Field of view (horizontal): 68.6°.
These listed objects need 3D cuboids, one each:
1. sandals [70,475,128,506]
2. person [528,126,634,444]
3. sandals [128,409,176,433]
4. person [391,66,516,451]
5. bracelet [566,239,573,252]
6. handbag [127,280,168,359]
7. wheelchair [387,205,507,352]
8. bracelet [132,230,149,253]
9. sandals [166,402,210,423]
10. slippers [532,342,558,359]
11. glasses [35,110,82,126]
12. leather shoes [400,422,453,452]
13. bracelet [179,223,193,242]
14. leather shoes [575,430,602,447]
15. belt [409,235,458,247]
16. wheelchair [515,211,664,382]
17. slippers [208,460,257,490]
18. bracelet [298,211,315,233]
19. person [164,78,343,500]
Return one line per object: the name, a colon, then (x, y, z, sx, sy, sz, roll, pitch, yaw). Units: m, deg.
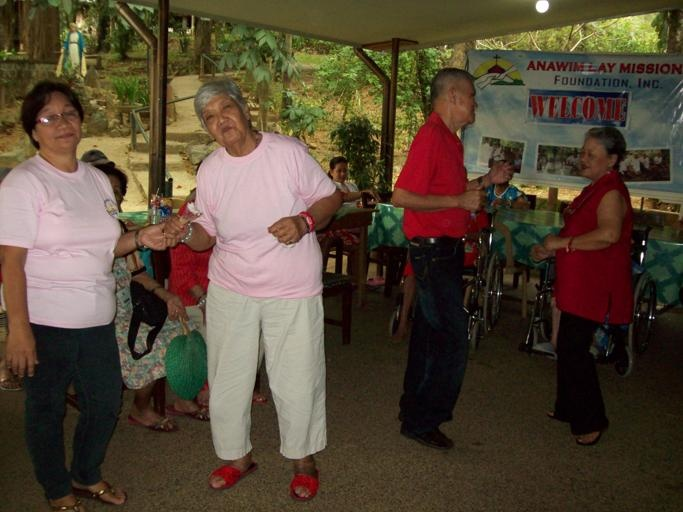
sandals: (-1.294, 1.275, 2.729, 0.330, 0.089, 0.130, 10, 34, -18)
person: (1.627, 0.217, 3.387, 0.566, 2.127, 0.545, -11, 18, -43)
sandals: (-1.300, 1.133, 3.415, 0.285, 0.070, 0.134, 9, 27, 10)
person: (0.604, 0.045, 3.270, 0.536, 2.456, 0.444, 6, 14, 15)
bracelet: (1.482, -0.068, 3.260, 0.028, 0.077, 0.057, 8, 6, 24)
handbag: (-1.198, 0.403, 3.041, 0.265, 0.411, 0.131, 32, -28, -35)
wheelchair: (1.136, 0.115, 5.041, 0.869, 1.328, 1.142, 12, 7, 35)
bracelet: (-1.057, -0.086, 2.624, 0.032, 0.117, 0.120, -10, 14, -35)
sandals: (-1.097, 1.108, 3.588, 0.325, 0.080, 0.153, 4, 9, 8)
slippers: (1.751, 0.802, 4.344, 0.120, 0.082, 0.205, 16, 6, -25)
glasses: (-1.331, -0.651, 2.351, 0.181, 0.073, 0.081, -6, 16, -30)
leather shoes: (0.580, 1.217, 3.430, 0.331, 0.142, 0.136, 5, 7, 19)
bracelet: (-0.822, -0.129, 2.659, 0.030, 0.098, 0.083, 6, -23, -35)
leather shoes: (1.692, 1.256, 3.472, 0.213, 0.074, 0.090, -9, 1, 17)
belt: (0.588, -0.091, 3.132, 0.306, 0.070, 0.090, 3, 14, 4)
wheelchair: (2.405, 0.292, 4.732, 1.309, 1.459, 0.868, -2, 8, -37)
slippers: (-0.648, 1.272, 2.945, 0.101, 0.061, 0.228, 14, 10, 39)
bracelet: (-0.174, -0.183, 2.583, 0.039, 0.099, 0.082, -27, 27, -22)
person: (-0.467, 0.221, 2.729, 0.819, 2.265, 0.436, 4, 13, 8)
